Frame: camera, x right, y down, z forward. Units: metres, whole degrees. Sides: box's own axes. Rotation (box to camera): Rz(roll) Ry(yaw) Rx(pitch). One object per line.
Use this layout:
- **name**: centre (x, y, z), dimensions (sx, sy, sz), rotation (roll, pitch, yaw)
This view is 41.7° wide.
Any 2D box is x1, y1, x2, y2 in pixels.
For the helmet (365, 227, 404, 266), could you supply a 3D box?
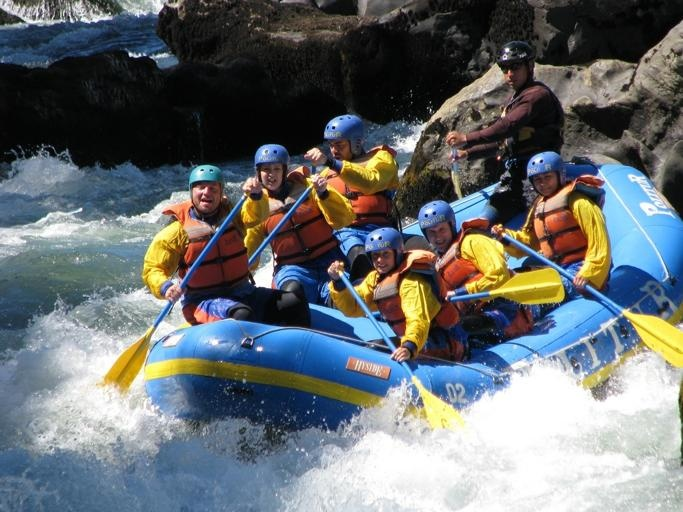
- **helmet**: centre (0.392, -0.069, 8.683), dimensions (0.278, 0.321, 0.375), rotation (4, 27, 36)

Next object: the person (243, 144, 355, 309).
- **person**: centre (-0.402, -0.269, 9.330), dimensions (1.073, 0.927, 1.565), rotation (-23, 78, 0)

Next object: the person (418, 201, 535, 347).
- **person**: centre (1.368, 0.235, 8.993), dimensions (0.718, 0.712, 1.404), rotation (-15, 64, -17)

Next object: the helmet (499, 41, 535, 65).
- **helmet**: centre (1.967, -2.246, 9.904), dimensions (0.240, 0.263, 0.319), rotation (-13, -19, 39)

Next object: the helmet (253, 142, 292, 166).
- **helmet**: centre (-0.704, -1.034, 9.215), dimensions (0.326, 0.231, 0.278), rotation (-2, 35, -8)

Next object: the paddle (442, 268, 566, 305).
- **paddle**: centre (1.651, 0.316, 8.724), dimensions (1.379, 0.152, 0.443), rotation (-5, 75, 4)

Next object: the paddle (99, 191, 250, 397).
- **paddle**: centre (-1.743, 0.466, 9.364), dimensions (0.429, 3.243, 0.123), rotation (36, 1, -15)

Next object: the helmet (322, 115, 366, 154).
- **helmet**: centre (0.043, -1.340, 9.917), dimensions (0.349, 0.378, 0.453), rotation (1, 2, 44)

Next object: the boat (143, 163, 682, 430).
- **boat**: centre (1.205, 0.752, 8.730), dimensions (4.233, 1.037, 2.475), rotation (-25, 29, -25)

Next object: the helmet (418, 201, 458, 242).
- **helmet**: centre (0.958, -0.377, 8.986), dimensions (0.258, 0.370, 0.324), rotation (-1, 33, 11)
